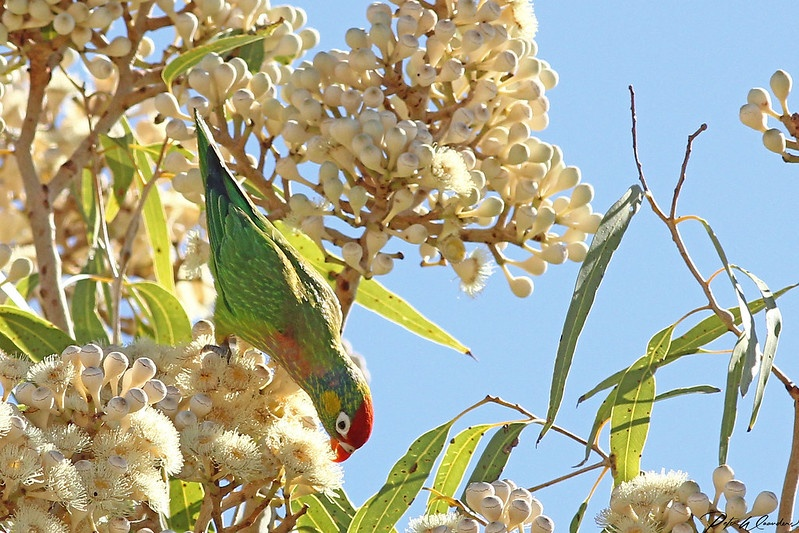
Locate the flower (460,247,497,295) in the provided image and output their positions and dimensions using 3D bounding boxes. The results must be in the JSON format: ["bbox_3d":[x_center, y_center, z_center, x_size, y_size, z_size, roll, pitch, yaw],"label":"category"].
[{"bbox_3d":[0.247,0.039,4.936,0.100,0.046,0.098,-21,12,35],"label":"flower"}]

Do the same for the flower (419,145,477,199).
[{"bbox_3d":[0.127,-0.335,4.814,0.140,0.103,0.158,16,6,41],"label":"flower"}]

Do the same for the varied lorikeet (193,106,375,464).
[{"bbox_3d":[-0.377,0.064,4.794,0.398,1.114,0.307,-18,-5,19],"label":"varied lorikeet"}]

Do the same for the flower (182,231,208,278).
[{"bbox_3d":[-0.707,-0.039,5.156,0.046,0.150,0.123,10,5,0],"label":"flower"}]
